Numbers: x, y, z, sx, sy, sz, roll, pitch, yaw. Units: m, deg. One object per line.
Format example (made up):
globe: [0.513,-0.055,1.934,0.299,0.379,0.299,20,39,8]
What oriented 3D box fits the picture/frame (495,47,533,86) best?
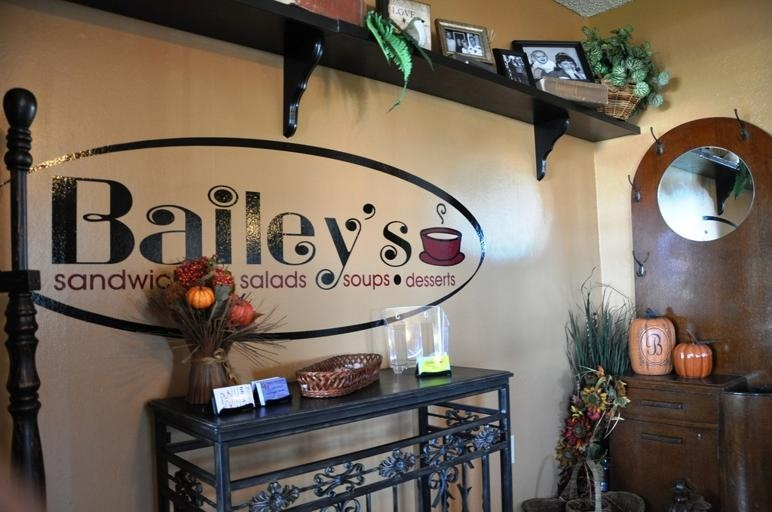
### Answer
picture/frame: [0.759,-1.120,3.706,0.291,0.269,0.057,9,-21,-32]

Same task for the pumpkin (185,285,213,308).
pumpkin: [-0.801,0.180,2.682,0.095,0.096,0.097,6,8,29]

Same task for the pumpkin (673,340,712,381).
pumpkin: [2.000,0.685,4.049,0.224,0.300,0.213,6,-9,-29]

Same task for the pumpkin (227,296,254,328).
pumpkin: [-0.645,0.258,2.766,0.119,0.119,0.116,6,-6,-23]

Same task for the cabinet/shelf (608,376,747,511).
cabinet/shelf: [1.832,1.169,3.842,0.811,1.042,0.565,1,0,34]

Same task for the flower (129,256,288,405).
flower: [-0.785,0.347,2.984,0.614,0.650,0.599,2,-4,-6]

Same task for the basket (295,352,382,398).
basket: [-0.224,0.576,2.996,0.335,0.160,0.467,-3,-4,14]

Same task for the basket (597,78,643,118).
basket: [1.585,-1.049,4.217,0.243,0.212,0.295,5,6,10]

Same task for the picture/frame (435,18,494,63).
picture/frame: [0.439,-1.235,3.587,0.468,0.295,0.047,5,-26,-28]
